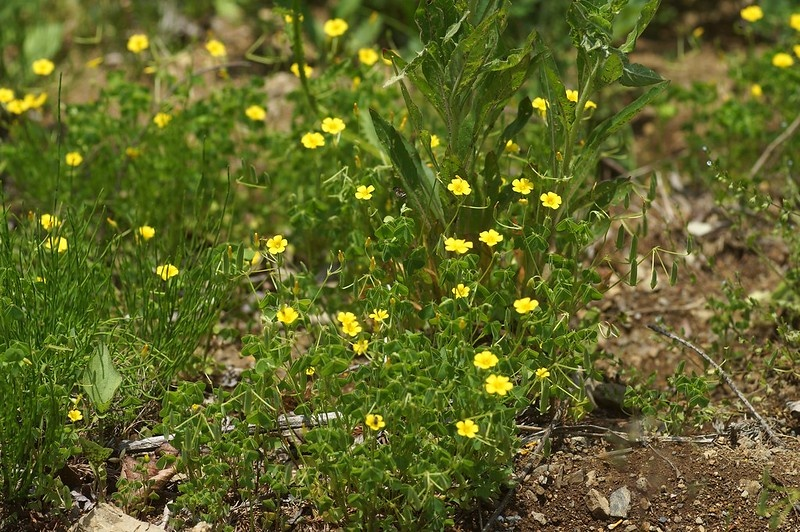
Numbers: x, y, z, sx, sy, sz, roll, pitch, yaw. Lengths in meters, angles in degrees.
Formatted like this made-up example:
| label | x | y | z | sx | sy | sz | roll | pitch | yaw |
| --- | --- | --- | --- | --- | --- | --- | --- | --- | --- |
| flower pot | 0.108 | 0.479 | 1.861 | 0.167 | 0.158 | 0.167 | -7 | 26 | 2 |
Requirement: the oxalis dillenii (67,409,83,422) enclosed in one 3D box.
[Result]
| label | x | y | z | sx | sy | sz | roll | pitch | yaw |
| --- | --- | --- | --- | --- | --- | --- | --- | --- | --- |
| oxalis dillenii | -1.371 | 0.637 | 3.720 | 0.055 | 0.031 | 0.065 | -10 | 63 | 14 |

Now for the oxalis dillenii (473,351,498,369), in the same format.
| label | x | y | z | sx | sy | sz | roll | pitch | yaw |
| --- | --- | --- | --- | --- | --- | --- | --- | --- | --- |
| oxalis dillenii | 0.342 | 0.386 | 3.543 | 0.099 | 0.069 | 0.067 | -14 | 53 | 7 |

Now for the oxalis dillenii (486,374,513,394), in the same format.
| label | x | y | z | sx | sy | sz | roll | pitch | yaw |
| --- | --- | --- | --- | --- | --- | --- | --- | --- | --- |
| oxalis dillenii | 0.387 | 0.473 | 3.503 | 0.104 | 0.057 | 0.083 | -6 | 55 | 13 |

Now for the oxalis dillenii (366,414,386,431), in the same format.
| label | x | y | z | sx | sy | sz | roll | pitch | yaw |
| --- | --- | --- | --- | --- | --- | --- | --- | --- | --- |
| oxalis dillenii | -0.092 | 0.628 | 3.501 | 0.058 | 0.034 | 0.074 | 3 | 89 | -8 |
